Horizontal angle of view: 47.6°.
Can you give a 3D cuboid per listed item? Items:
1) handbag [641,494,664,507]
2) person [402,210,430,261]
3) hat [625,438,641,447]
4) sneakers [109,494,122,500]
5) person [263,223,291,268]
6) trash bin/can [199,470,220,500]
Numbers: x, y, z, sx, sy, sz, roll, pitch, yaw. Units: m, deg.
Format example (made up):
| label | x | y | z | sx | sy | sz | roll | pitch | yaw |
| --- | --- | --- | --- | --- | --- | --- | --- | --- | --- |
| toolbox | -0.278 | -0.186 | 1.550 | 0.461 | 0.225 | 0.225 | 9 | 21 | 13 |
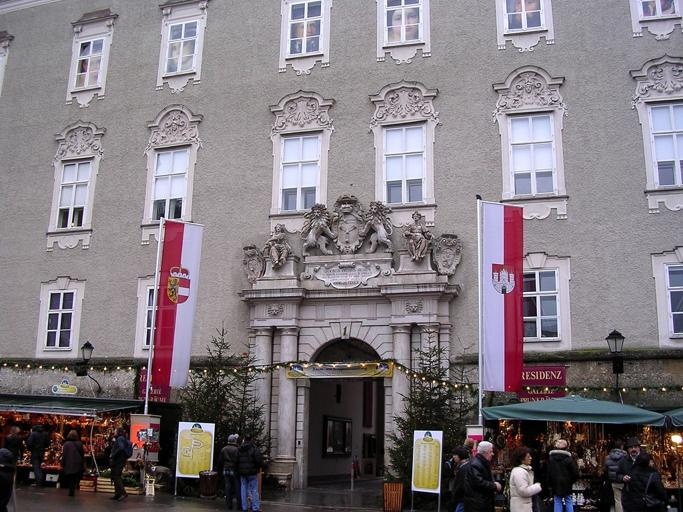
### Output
| label | x | y | z | sx | sy | sz | roll | pitch | yaw |
| --- | --- | --- | --- | --- | --- | --- | --- | --- | --- |
| handbag | 6.717 | 5.288 | 16.643 | 0.418 | 0.267 | 0.116 | 0 | -12 | -6 |
| person | 2.586 | -0.616 | 26.242 | 0.916 | 1.766 | 0.402 | -3 | -12 | 5 |
| hat | 6.968 | 4.463 | 18.527 | 0.354 | 0.208 | 0.442 | -4 | -17 | 8 |
| sneakers | -6.473 | 6.925 | 22.197 | 0.441 | 0.169 | 0.144 | -4 | -14 | 33 |
| person | -2.268 | -0.296 | 27.532 | 0.883 | 1.700 | 0.682 | 0 | -12 | -7 |
| trash bin/can | -3.886 | 6.675 | 22.521 | 0.755 | 0.707 | 0.728 | 1 | -4 | -6 |
